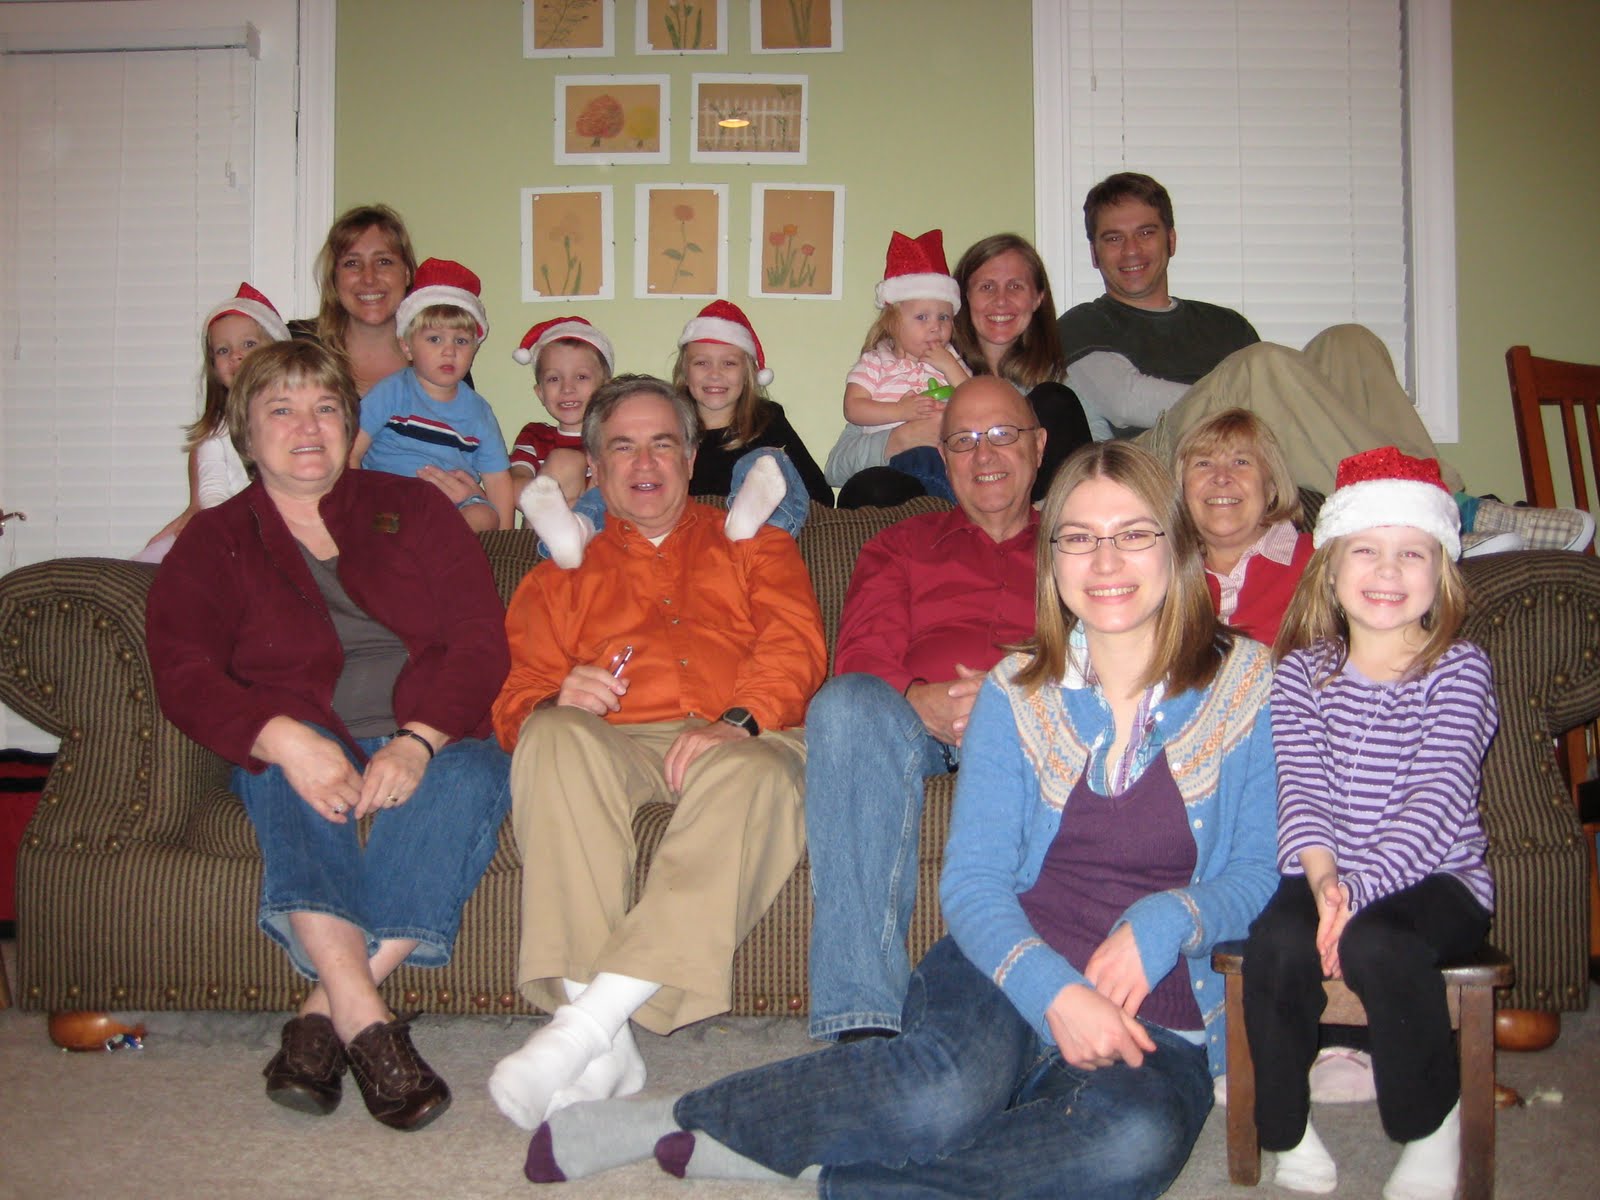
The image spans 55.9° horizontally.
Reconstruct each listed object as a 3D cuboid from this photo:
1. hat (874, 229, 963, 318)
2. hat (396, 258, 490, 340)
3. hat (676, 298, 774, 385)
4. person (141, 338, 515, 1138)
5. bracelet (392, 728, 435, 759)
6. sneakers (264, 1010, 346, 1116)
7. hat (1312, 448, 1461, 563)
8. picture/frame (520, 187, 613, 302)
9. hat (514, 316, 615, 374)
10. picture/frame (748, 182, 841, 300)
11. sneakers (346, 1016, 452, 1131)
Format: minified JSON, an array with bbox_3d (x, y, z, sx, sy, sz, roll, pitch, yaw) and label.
[{"bbox_3d":[0.369,-1.048,4.830,0.238,0.287,0.273,0,18,0],"label":"hat"},{"bbox_3d":[-1.080,-0.954,4.547,0.205,0.235,0.283,-1,-28,-10],"label":"hat"},{"bbox_3d":[-0.225,-0.792,4.639,0.234,0.320,0.132,-3,-17,-6],"label":"hat"},{"bbox_3d":[-0.887,0.198,3.148,0.800,1.524,0.586,0,3,36],"label":"person"},{"bbox_3d":[-0.793,0.287,3.117,0.020,0.064,0.063,-46,4,-15],"label":"bracelet"},{"bbox_3d":[-0.922,0.870,2.822,0.103,0.096,0.204,8,-10,-16],"label":"sneakers"},{"bbox_3d":[1.119,-0.165,2.842,0.210,0.171,0.217,3,-5,35],"label":"hat"},{"bbox_3d":[-0.803,-1.253,5.220,0.369,0.431,0.029,-1,6,2],"label":"picture/frame"},{"bbox_3d":[-0.744,-0.821,4.726,0.245,0.152,0.179,1,-6,-4],"label":"hat"},{"bbox_3d":[-0.014,-1.236,5.221,0.347,0.411,0.016,7,12,23],"label":"picture/frame"},{"bbox_3d":[-0.757,0.856,2.841,0.107,0.113,0.257,-19,28,-34],"label":"sneakers"}]
